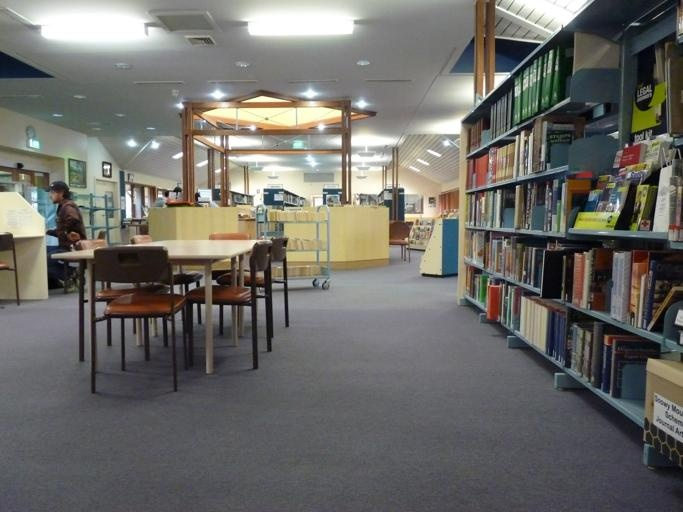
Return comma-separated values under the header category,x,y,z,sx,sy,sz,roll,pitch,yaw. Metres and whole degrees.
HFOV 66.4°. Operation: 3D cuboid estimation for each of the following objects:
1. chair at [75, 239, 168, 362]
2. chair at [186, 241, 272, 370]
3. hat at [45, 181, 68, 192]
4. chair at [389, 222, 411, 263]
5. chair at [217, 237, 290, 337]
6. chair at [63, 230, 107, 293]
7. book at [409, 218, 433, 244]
category,x,y,z,sx,sy,sz,roll,pitch,yaw
chair,-1.489,0.322,3.813,0.651,0.873,0.652,2,11,-1
chair,-0.750,0.316,4.577,0.877,1.330,0.844,1,2,2
hat,-3.858,-0.932,7.079,0.294,0.169,0.222,5,6,18
chair,1.529,-0.312,12.268,0.583,0.755,0.516,7,5,-33
chair,-0.803,0.281,4.634,0.477,0.722,0.451,-3,-12,-19
chair,-2.160,0.052,4.534,0.289,0.527,0.328,4,4,5
book,2.400,-0.718,15.524,0.288,0.850,0.897,2,8,-15
